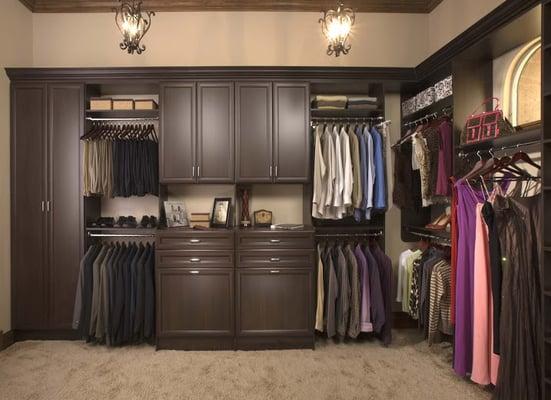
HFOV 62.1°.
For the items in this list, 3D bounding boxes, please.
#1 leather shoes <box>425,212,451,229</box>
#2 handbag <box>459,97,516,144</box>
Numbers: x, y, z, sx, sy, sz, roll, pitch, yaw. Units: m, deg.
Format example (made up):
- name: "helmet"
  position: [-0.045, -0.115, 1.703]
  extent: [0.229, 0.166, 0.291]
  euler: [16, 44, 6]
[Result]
- name: "leather shoes"
  position: [1.813, 0.234, 5.089]
  extent: [0.323, 0.157, 0.112]
  euler: [-3, -3, -37]
- name: "handbag"
  position: [2.104, -0.777, 4.524]
  extent: [0.244, 0.471, 0.445]
  euler: [4, -4, -25]
